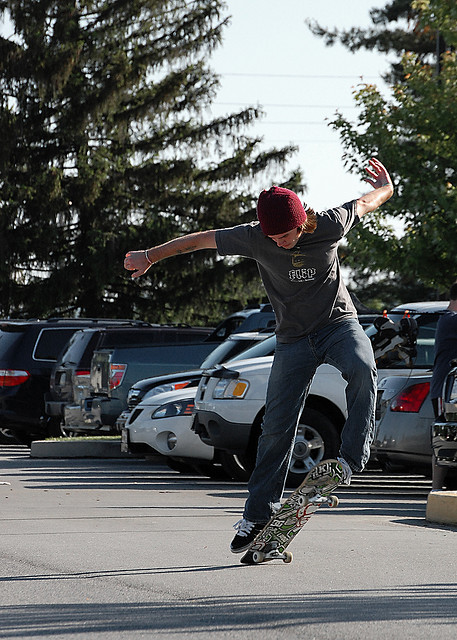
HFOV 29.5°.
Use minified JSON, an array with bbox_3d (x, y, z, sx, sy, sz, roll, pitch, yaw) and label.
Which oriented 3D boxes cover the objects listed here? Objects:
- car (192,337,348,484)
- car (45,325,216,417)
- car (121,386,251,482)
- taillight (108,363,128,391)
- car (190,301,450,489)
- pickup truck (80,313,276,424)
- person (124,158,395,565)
[{"bbox_3d":[0.201,0.856,8.787,2.010,0.929,1.009,8,-7,-13],"label":"car"},{"bbox_3d":[-1.502,0.809,14.146,2.700,1.164,1.468,-4,1,-22],"label":"car"},{"bbox_3d":[-0.581,1.328,9.597,1.698,0.708,0.863,5,-4,-11],"label":"car"},{"bbox_3d":[-1.555,0.819,12.133,0.398,0.451,0.067,6,-24,-21],"label":"taillight"},{"bbox_3d":[1.285,0.717,8.980,3.155,1.289,1.372,1,-3,-11],"label":"car"},{"bbox_3d":[-0.658,0.642,13.044,3.077,1.050,1.399,-8,2,-23],"label":"pickup truck"},{"bbox_3d":[0.191,0.154,4.477,1.437,1.967,1.018,-11,-14,22],"label":"person"}]
